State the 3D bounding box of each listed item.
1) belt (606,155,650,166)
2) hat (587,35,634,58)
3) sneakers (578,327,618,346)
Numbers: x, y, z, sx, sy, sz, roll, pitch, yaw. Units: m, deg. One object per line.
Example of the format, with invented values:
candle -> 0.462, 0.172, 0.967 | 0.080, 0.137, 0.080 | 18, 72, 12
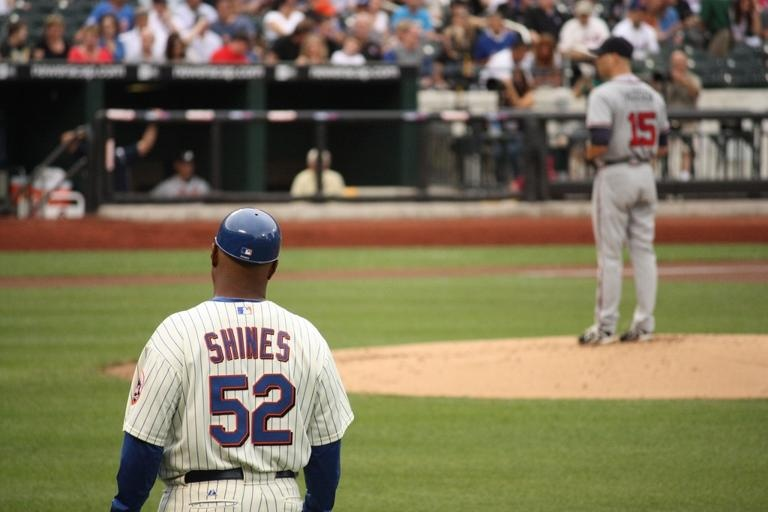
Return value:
belt -> 2.429, -0.945, 17.455 | 0.442, 0.110, 0.067 | -11, 5, -3
hat -> 2.336, -2.117, 17.696 | 0.332, 0.183, 0.203 | 14, 12, 10
sneakers -> 2.160, 0.820, 17.710 | 0.310, 0.132, 0.191 | 2, 0, 1
